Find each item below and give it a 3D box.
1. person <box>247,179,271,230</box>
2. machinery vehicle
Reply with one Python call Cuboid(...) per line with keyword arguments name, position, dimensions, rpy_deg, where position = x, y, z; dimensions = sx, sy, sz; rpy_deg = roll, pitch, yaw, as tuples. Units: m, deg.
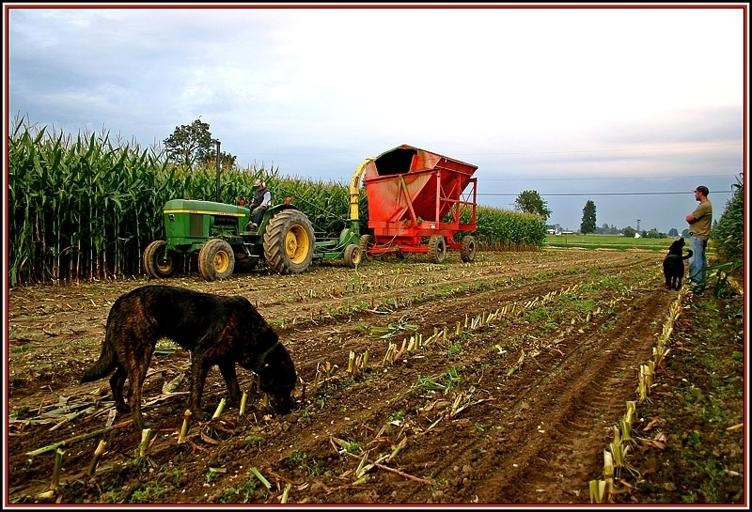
Cuboid(name="person", position=(-2.505, -1.109, 11.154), dimensions=(0.576, 1.023, 0.592), rpy_deg=(3, 2, -3))
Cuboid(name="machinery vehicle", position=(-2.746, -0.657, 12.150), dimensions=(2.056, 3.369, 6.130), rpy_deg=(-2, -2, 38))
